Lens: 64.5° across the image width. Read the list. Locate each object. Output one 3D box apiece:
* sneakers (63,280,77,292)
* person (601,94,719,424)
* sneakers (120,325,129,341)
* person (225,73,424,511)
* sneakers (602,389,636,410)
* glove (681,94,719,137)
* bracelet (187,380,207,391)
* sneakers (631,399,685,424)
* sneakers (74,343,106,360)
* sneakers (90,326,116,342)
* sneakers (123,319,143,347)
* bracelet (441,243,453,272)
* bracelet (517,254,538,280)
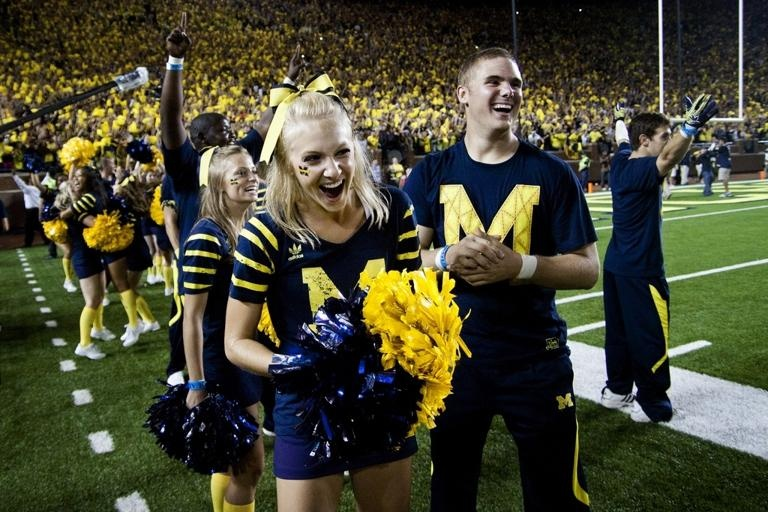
[{"bbox_3d":[-4.730,0.454,9.128,0.127,0.130,0.308,-13,20,-41],"label":"sneakers"},{"bbox_3d":[2.033,0.002,4.644,0.671,2.367,0.772,1,10,27],"label":"person"},{"bbox_3d":[-2.845,0.849,6.647,0.072,0.157,0.099,16,4,36],"label":"sneakers"},{"bbox_3d":[-0.313,0.203,2.984,0.844,2.175,0.625,-1,9,17],"label":"person"},{"bbox_3d":[1.796,1.120,4.695,0.266,0.127,0.121,-1,5,-14],"label":"sneakers"},{"bbox_3d":[2.362,-1.061,4.554,0.219,0.317,0.664,1,10,28],"label":"glove"},{"bbox_3d":[-1.045,0.714,3.361,0.072,0.037,0.059,0,-2,1],"label":"bracelet"},{"bbox_3d":[2.043,1.186,4.562,0.414,0.187,0.150,-6,14,-4],"label":"sneakers"},{"bbox_3d":[-2.956,0.968,6.091,0.312,0.137,0.141,5,4,4],"label":"sneakers"},{"bbox_3d":[-3.053,0.860,6.664,0.328,0.141,0.113,7,5,-18],"label":"sneakers"},{"bbox_3d":[-2.710,0.811,6.493,0.197,0.243,0.297,-7,10,-23],"label":"sneakers"},{"bbox_3d":[0.334,0.012,3.282,0.038,0.131,0.072,-9,11,-31],"label":"bracelet"},{"bbox_3d":[0.760,0.058,3.262,0.118,0.111,0.117,0,2,-4],"label":"bracelet"}]
